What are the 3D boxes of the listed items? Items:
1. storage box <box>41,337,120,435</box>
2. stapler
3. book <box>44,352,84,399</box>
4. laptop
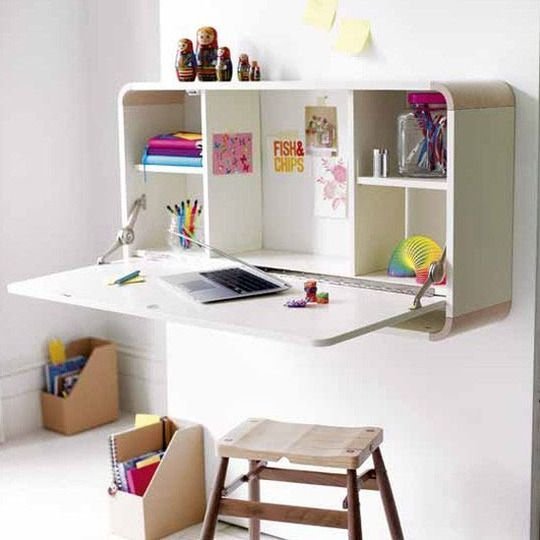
[{"bbox_3d":[-0.977,0.506,2.922,0.162,0.526,0.276,15,24,37],"label":"storage box"},{"bbox_3d":[0.372,-0.318,1.381,0.058,0.187,0.090,-17,25,-42],"label":"stapler"},{"bbox_3d":[-1.021,0.540,2.920,0.194,0.161,0.108,-8,13,-27],"label":"book"},{"bbox_3d":[-0.123,-0.020,1.508,0.232,0.161,0.356,-3,5,-30],"label":"laptop"}]
